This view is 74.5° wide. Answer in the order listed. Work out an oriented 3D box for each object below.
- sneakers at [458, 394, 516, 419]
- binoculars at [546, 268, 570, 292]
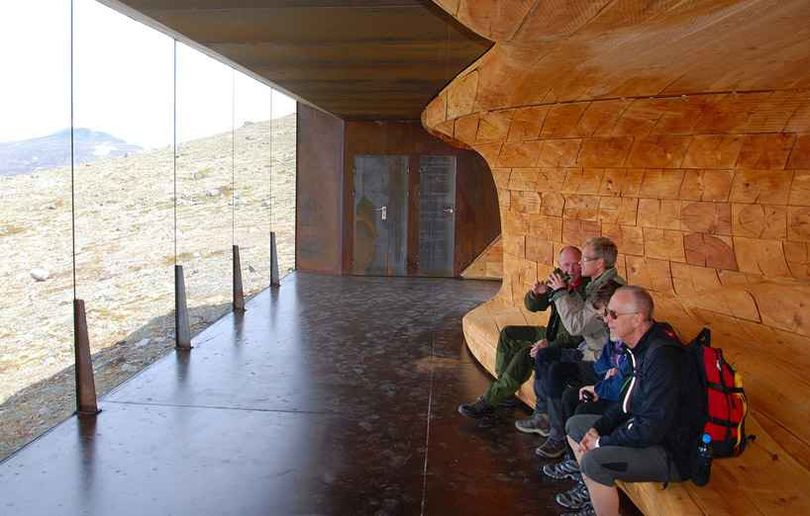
[{"bbox_3d":[0.795,1.437,5.167,0.677,0.233,0.213,2,-3,-3],"label":"sneakers"},{"bbox_3d":[1.425,0.225,4.927,0.196,0.253,0.566,6,14,16],"label":"binoculars"}]
